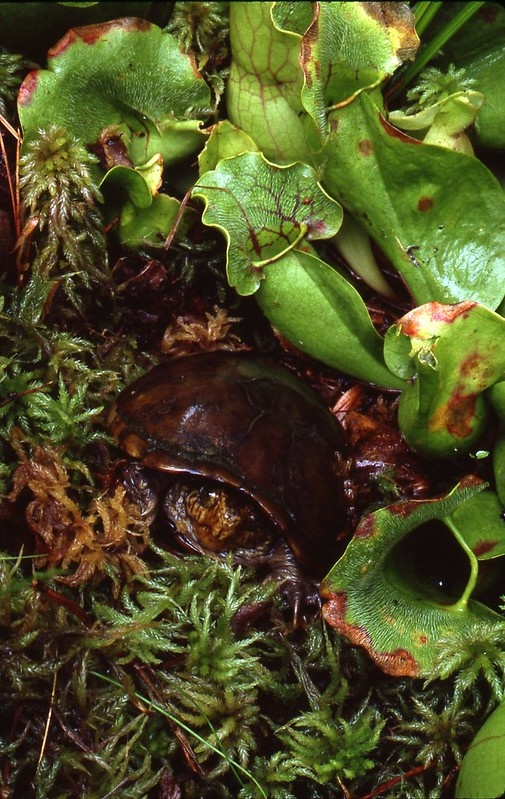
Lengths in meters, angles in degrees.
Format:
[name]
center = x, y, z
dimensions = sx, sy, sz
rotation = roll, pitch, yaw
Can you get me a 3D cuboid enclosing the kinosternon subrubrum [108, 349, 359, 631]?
[kinosternon subrubrum]
center = -0.031, 0.209, 2.318
dimensions = 0.884, 0.395, 0.611
rotation = 34, 57, 14
